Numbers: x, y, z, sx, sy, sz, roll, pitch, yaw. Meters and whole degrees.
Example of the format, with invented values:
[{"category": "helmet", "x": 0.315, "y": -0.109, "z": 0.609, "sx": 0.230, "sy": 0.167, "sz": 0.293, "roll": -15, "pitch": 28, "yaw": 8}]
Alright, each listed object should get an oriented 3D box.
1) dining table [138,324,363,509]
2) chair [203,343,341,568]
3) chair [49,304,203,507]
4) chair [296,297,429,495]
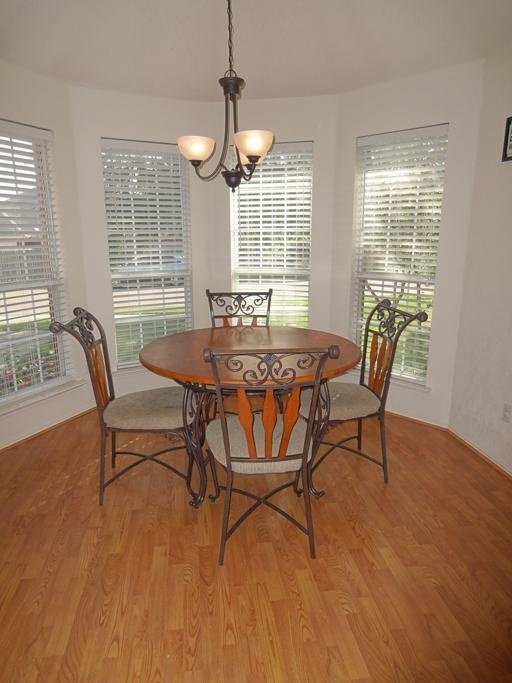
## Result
[{"category": "dining table", "x": 0.015, "y": 0.458, "z": 2.367, "sx": 1.036, "sy": 0.717, "sz": 1.022, "roll": 9, "pitch": -13, "yaw": -40}, {"category": "chair", "x": 0.019, "y": 0.390, "z": 2.024, "sx": 0.526, "sy": 1.004, "sz": 0.603, "roll": 1, "pitch": 18, "yaw": 5}, {"category": "chair", "x": -0.633, "y": 0.331, "z": 2.482, "sx": 0.650, "sy": 1.025, "sz": 0.566, "roll": -6, "pitch": 16, "yaw": -17}, {"category": "chair", "x": 0.531, "y": 0.264, "z": 2.617, "sx": 0.600, "sy": 0.957, "sz": 0.586, "roll": 4, "pitch": 15, "yaw": 9}]
